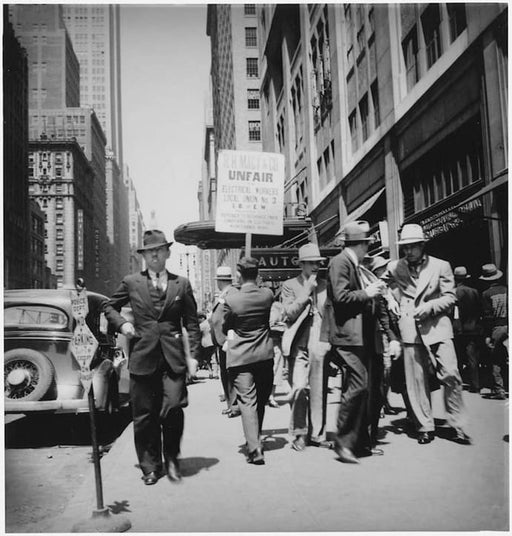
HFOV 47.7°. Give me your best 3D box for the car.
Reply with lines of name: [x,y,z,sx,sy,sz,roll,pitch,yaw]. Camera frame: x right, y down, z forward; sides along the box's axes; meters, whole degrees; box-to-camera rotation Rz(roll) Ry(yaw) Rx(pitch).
car: [-2.757,1.162,8.185,2.178,1.527,1.443,-1,-7,-2]

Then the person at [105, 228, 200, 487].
person: [-0.984,0.827,5.760,0.891,2.448,0.551,-1,-2,-18]

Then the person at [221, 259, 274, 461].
person: [-0.068,0.974,6.277,0.569,2.148,0.563,-2,-2,-4]

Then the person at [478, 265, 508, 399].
person: [3.607,0.946,8.711,0.387,1.409,1.992,-3,-2,21]

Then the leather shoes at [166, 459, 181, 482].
leather shoes: [-0.783,1.970,5.579,0.091,0.070,0.179,-11,47,-22]

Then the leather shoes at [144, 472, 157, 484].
leather shoes: [-0.995,1.992,5.490,0.129,0.099,0.125,-3,-3,-15]

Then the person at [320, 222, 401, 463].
person: [1.116,0.741,6.262,0.663,2.516,0.896,-4,-3,42]
